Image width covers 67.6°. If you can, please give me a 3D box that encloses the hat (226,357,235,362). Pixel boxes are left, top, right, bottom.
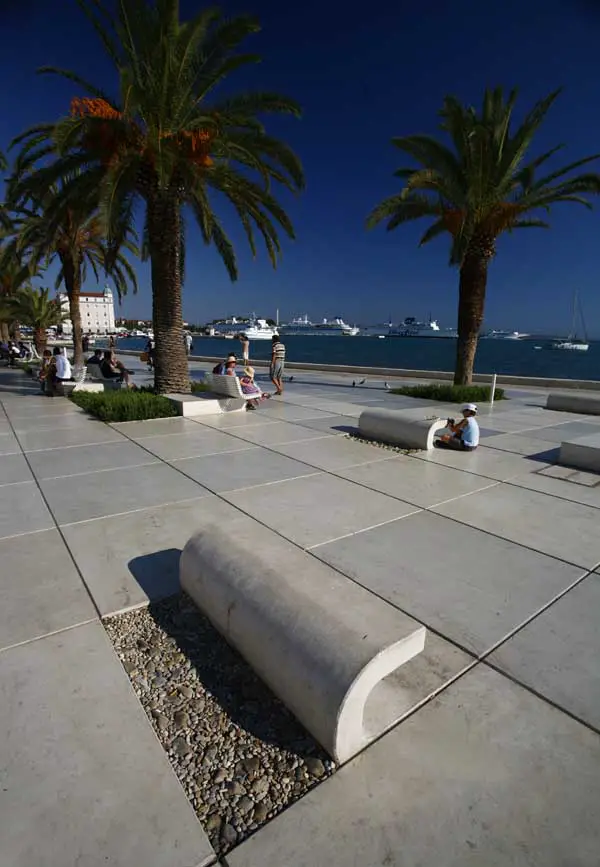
[{"bbox_3d":[-1.717,-1.886,11.160,0.203,0.065,0.210,7,17,27],"label":"hat"}]

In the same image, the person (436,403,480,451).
[{"bbox_3d":[2.470,-0.104,7.097,0.629,0.771,0.666,6,12,23],"label":"person"}]

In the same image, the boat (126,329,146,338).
[{"bbox_3d":[-72.402,-44.427,197.213,6.605,3.963,20.693,-4,12,-22],"label":"boat"}]

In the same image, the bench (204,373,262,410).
[{"bbox_3d":[-1.695,-1.020,10.856,1.189,0.826,1.029,7,13,29],"label":"bench"}]

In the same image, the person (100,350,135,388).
[{"bbox_3d":[-5.701,-2.034,13.737,0.794,1.083,1.609,-4,13,-24],"label":"person"}]
